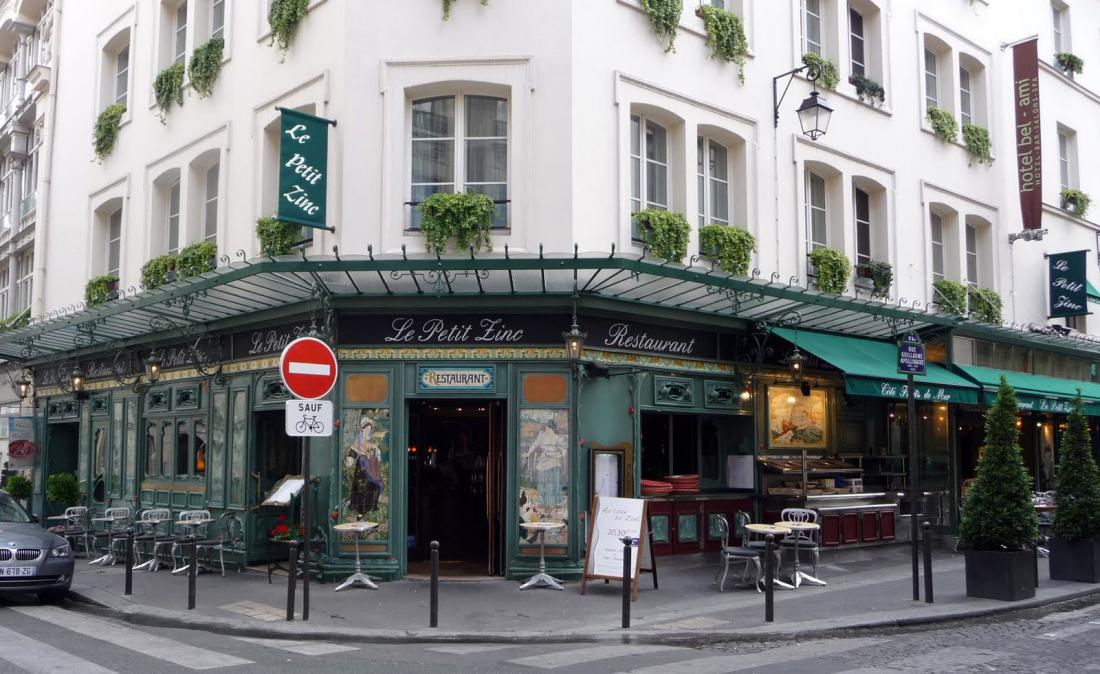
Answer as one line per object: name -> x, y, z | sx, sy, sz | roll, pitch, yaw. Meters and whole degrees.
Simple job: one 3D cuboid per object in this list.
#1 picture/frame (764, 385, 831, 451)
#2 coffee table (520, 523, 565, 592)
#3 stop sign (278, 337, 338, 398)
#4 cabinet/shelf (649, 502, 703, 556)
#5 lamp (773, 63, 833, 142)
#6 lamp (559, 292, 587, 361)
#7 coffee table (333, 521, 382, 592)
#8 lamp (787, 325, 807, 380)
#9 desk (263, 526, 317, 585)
picture/frame -> 6.500, 2.142, 35.157 | 2.616, 1.653, 0.144 | 5, -8, -42
coffee table -> -0.196, 5.085, 30.913 | 1.068, 1.629, 1.152 | 0, -14, 0
stop sign -> -5.187, 0.641, 28.582 | 1.614, 1.486, 0.222 | 2, -5, -42
cabinet/shelf -> 3.161, 4.723, 32.901 | 1.684, 1.364, 0.381 | 11, -17, -37
lamp -> 6.776, -6.389, 34.859 | 1.848, 2.103, 0.908 | 9, -16, -31
lamp -> 0.570, -0.295, 31.499 | 0.655, 1.544, 0.548 | 0, -2, 3
coffee table -> -4.523, 5.150, 31.272 | 1.496, 1.690, 1.441 | -4, -12, 14
lamp -> 6.509, 0.433, 34.653 | 0.461, 1.341, 1.438 | -2, -14, 11
desk -> -6.177, 5.177, 31.377 | 0.985, 1.280, 1.754 | 7, -11, -31
